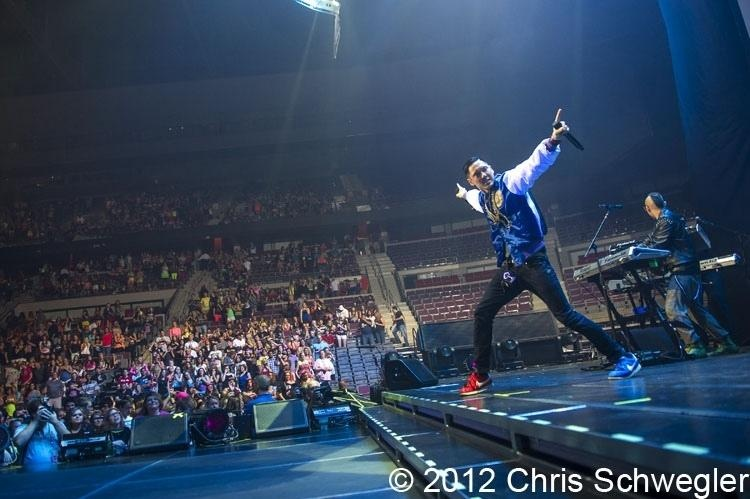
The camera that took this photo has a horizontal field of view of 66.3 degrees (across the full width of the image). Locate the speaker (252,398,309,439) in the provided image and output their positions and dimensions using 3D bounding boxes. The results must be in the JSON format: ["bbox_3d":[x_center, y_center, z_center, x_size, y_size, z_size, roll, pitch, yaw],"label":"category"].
[{"bbox_3d":[-1.422,2.591,8.779,0.746,0.511,0.293,-3,-20,-4],"label":"speaker"}]

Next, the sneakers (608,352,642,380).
[{"bbox_3d":[2.973,1.391,6.827,0.472,0.277,0.178,-5,-17,-22],"label":"sneakers"}]

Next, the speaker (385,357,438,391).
[{"bbox_3d":[0.569,1.951,9.191,0.883,0.441,0.881,7,-9,-40],"label":"speaker"}]

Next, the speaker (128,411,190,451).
[{"bbox_3d":[-3.171,2.734,8.519,0.829,0.441,0.523,0,-2,-9],"label":"speaker"}]

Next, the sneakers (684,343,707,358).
[{"bbox_3d":[4.512,1.427,8.049,0.247,0.210,0.415,-20,-18,27],"label":"sneakers"}]
